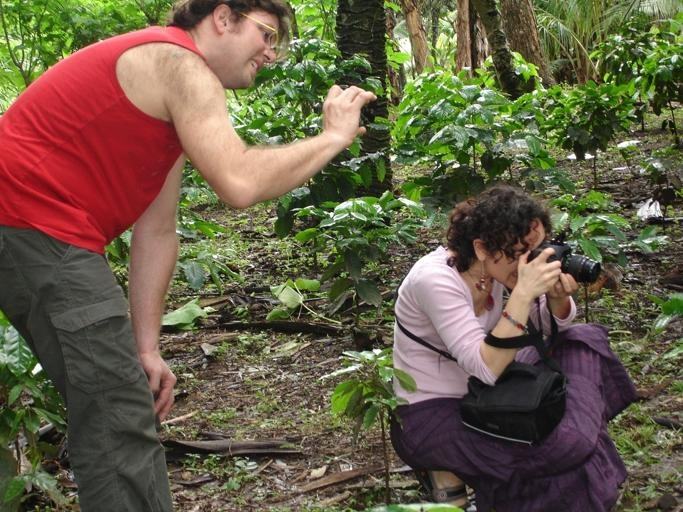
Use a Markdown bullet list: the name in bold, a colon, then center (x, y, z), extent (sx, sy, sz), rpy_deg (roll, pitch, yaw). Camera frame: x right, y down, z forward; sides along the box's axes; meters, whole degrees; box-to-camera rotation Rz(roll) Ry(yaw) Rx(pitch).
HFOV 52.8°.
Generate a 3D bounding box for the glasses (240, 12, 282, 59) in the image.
- **glasses**: center (-0.299, -0.882, 2.736), extent (0.148, 0.042, 0.145), rpy_deg (30, -5, 6)

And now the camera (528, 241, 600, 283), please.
- **camera**: center (1.078, 0.049, 3.280), extent (0.249, 0.141, 0.231), rpy_deg (35, 54, 25)

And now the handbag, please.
- **handbag**: center (0.790, 0.666, 3.141), extent (0.394, 0.249, 0.397), rpy_deg (-1, 18, 46)

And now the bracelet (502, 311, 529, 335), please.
- **bracelet**: center (0.816, 0.314, 3.167), extent (0.122, 0.032, 0.098), rpy_deg (32, -6, 11)
